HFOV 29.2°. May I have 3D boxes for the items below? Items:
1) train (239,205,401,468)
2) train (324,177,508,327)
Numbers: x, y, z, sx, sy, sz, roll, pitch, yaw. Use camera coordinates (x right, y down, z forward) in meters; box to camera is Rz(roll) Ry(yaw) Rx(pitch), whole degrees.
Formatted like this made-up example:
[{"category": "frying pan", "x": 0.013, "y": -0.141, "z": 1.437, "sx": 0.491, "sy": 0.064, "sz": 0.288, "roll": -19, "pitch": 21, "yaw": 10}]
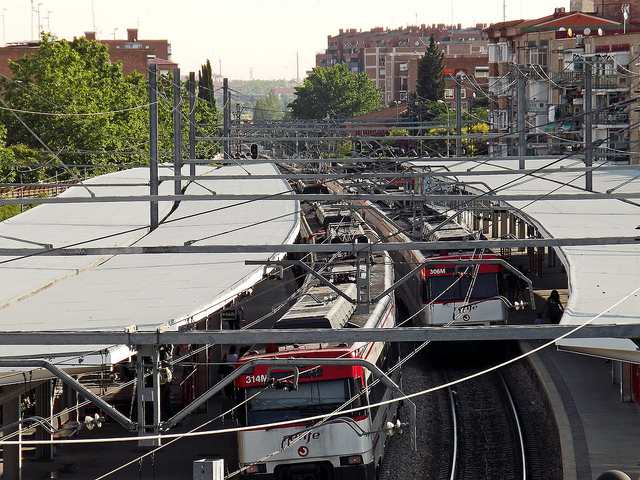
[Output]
[{"category": "train", "x": 0.261, "y": 2.865, "z": 32.561, "sx": 3.646, "sy": 5.960, "sz": 14.963, "roll": -1, "pitch": 14, "yaw": 4}, {"category": "train", "x": 3.427, "y": 0.283, "z": 44.526, "sx": 2.923, "sy": 2.697, "sz": 13.931, "roll": -2, "pitch": 10, "yaw": -7}]
